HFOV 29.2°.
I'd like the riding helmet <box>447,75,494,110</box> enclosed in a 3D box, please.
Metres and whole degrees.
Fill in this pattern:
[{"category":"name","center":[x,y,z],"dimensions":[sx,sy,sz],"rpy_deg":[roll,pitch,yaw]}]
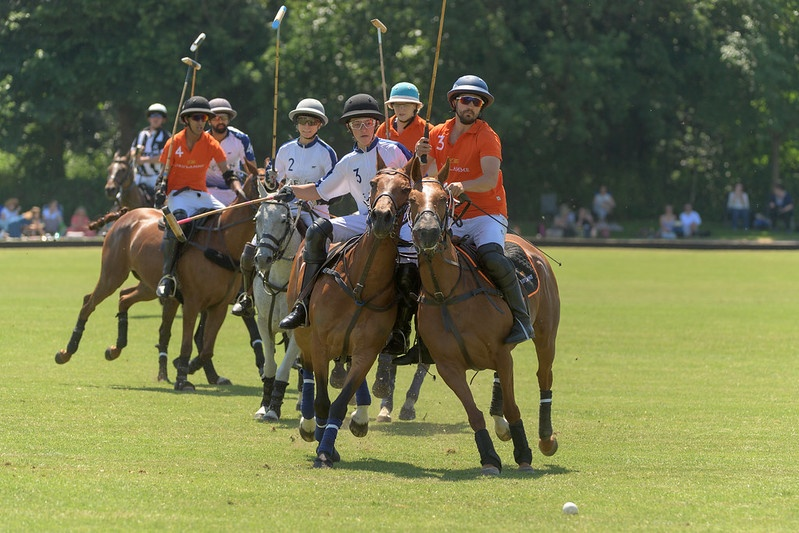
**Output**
[{"category":"riding helmet","center":[0.929,-2.284,19.862],"dimensions":[0.582,0.395,0.510],"rpy_deg":[-1,12,-9]}]

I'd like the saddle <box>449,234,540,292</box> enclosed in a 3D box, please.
[{"category":"saddle","center":[1.267,-0.087,19.881],"dimensions":[0.887,0.526,1.476],"rpy_deg":[16,6,29]}]

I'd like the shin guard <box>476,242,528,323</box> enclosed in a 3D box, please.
[{"category":"shin guard","center":[1.377,0.165,19.497],"dimensions":[0.375,1.293,0.458],"rpy_deg":[-30,2,8]}]

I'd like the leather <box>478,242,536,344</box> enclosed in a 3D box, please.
[{"category":"leather","center":[1.382,0.291,19.346],"dimensions":[0.467,1.504,0.547],"rpy_deg":[-6,25,34]}]

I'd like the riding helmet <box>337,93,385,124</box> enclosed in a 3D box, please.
[{"category":"riding helmet","center":[-0.503,-2.099,20.373],"dimensions":[0.567,0.392,0.451],"rpy_deg":[0,12,-1]}]

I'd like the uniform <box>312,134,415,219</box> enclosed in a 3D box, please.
[{"category":"uniform","center":[-0.515,-1.186,20.273],"dimensions":[1.221,1.040,0.587],"rpy_deg":[4,1,8]}]

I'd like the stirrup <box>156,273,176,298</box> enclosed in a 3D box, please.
[{"category":"stirrup","center":[-3.434,0.283,22.643],"dimensions":[0.278,0.335,0.096],"rpy_deg":[3,-14,-5]}]
